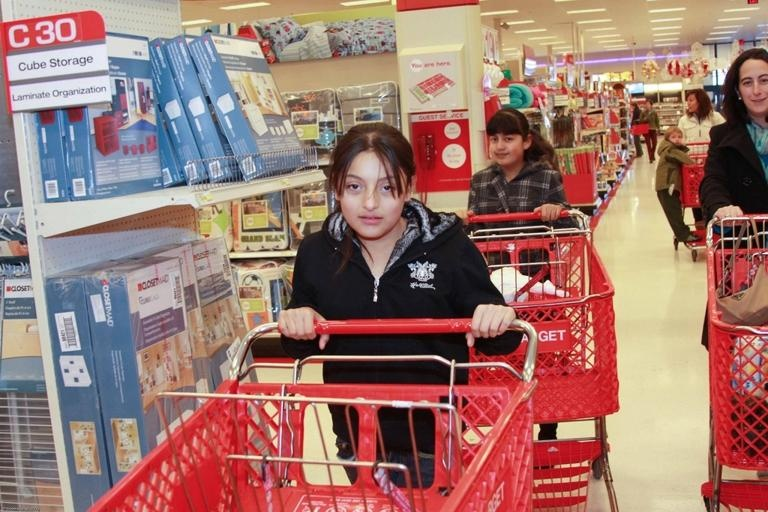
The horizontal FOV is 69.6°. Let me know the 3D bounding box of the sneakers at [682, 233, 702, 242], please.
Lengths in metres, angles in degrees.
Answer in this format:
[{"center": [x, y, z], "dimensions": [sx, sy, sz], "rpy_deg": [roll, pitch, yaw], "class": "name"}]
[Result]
[{"center": [4.446, -0.265, 7.992], "dimensions": [0.348, 0.096, 0.196], "rpy_deg": [-14, 16, -34], "class": "sneakers"}]
